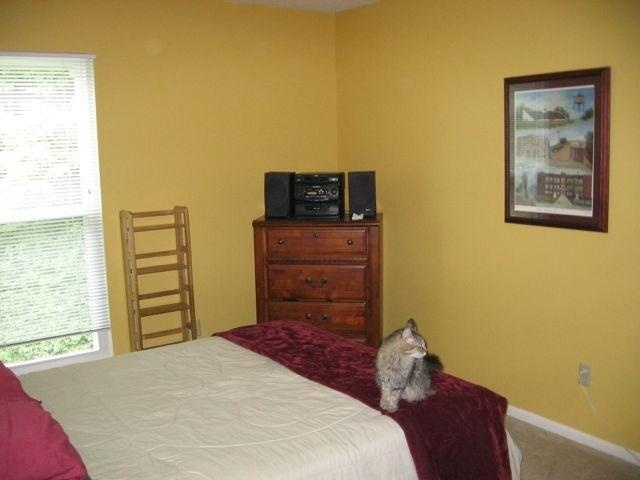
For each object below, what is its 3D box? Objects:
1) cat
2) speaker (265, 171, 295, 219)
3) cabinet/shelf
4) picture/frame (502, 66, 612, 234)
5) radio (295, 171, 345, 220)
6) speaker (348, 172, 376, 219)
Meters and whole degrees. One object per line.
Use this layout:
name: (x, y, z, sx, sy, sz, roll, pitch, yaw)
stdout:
cat: (0.395, 0.593, 2.426, 0.232, 0.447, 0.227, 5, 12, -21)
speaker: (-0.350, -0.341, 4.253, 0.210, 0.364, 0.184, 0, -8, -7)
cabinet/shelf: (0.004, 0.345, 4.301, 1.028, 1.045, 0.583, 1, 9, 8)
picture/frame: (1.490, -0.557, 3.309, 0.036, 0.983, 0.704, -7, 10, -40)
radio: (0.002, -0.355, 4.239, 0.358, 0.327, 0.369, 1, 5, 10)
speaker: (0.336, -0.352, 4.120, 0.210, 0.370, 0.108, 0, 8, 4)
